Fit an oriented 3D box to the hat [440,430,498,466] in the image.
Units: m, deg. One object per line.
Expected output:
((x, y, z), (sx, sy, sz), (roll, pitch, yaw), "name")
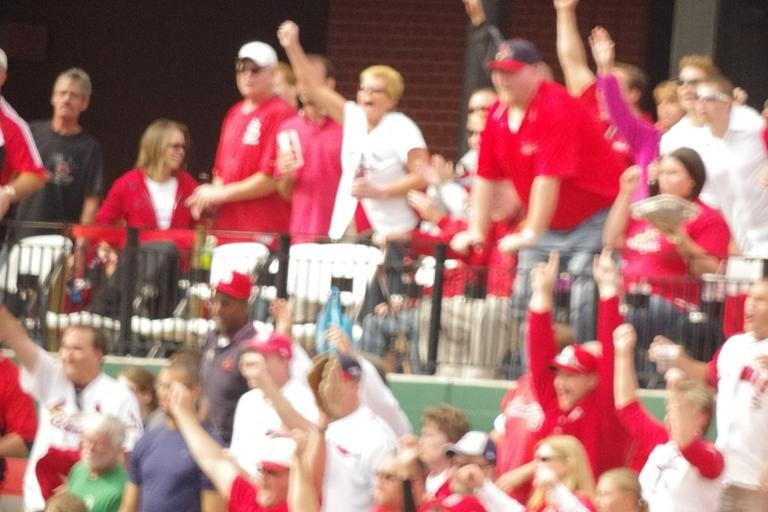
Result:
((0.515, 1.152, 6.505), (0.272, 0.135, 0.173), (22, -5, -13), "hat")

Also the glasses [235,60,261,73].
((-1.022, -1.366, 7.922), (0.246, 0.097, 0.094), (-2, -5, 32), "glasses")

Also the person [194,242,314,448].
((-0.808, 0.607, 6.956), (0.462, 1.510, 0.915), (16, -22, -38), "person")

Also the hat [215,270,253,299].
((-1.005, 0.199, 7.228), (0.223, 0.082, 0.157), (10, 13, -6), "hat")

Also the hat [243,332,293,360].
((-0.720, 0.572, 6.901), (0.229, 0.089, 0.158), (10, -6, 7), "hat")

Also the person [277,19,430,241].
((-0.180, -0.885, 7.641), (0.968, 1.512, 0.306), (0, -4, 19), "person")

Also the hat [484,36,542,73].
((0.819, -1.263, 6.836), (0.400, 0.199, 0.294), (-14, 12, -42), "hat")

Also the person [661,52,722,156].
((2.162, -0.953, 7.376), (0.518, 0.756, 0.345), (2, 20, 8), "person")

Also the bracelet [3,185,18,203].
((-2.627, -0.432, 7.588), (0.090, 0.066, 0.089), (2, 9, 2), "bracelet")

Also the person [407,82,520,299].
((0.572, -0.333, 7.249), (0.612, 1.456, 0.863), (9, 11, 42), "person")

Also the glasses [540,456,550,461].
((0.936, 1.171, 6.276), (0.031, 0.008, 0.032), (-2, 4, -27), "glasses")
